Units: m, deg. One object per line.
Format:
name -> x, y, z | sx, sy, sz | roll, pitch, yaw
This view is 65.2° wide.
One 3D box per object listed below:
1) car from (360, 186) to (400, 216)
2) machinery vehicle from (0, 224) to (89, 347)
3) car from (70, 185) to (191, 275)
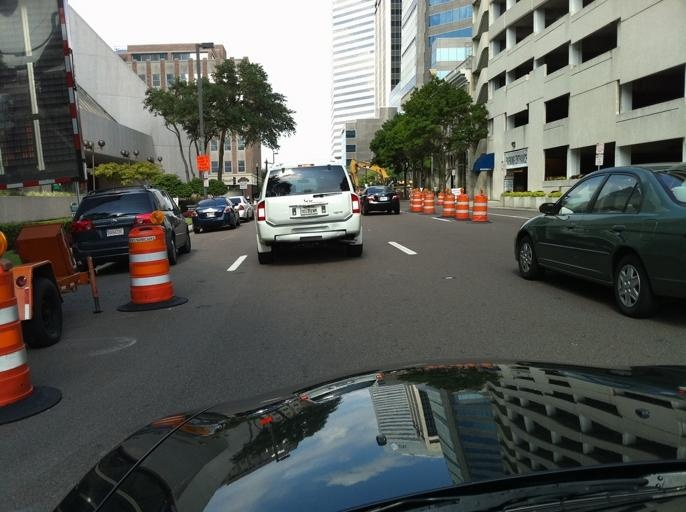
car -> 2.355, -3.485, 33.914 | 1.887, 1.889, 2.711 | -9, 6, -29
machinery vehicle -> -4.245, 0.384, 7.301 | 0.743, 1.437, 2.711 | -7, 6, -14
car -> -5.322, -0.903, 13.980 | 1.738, 1.623, 3.447 | -2, 10, 5
